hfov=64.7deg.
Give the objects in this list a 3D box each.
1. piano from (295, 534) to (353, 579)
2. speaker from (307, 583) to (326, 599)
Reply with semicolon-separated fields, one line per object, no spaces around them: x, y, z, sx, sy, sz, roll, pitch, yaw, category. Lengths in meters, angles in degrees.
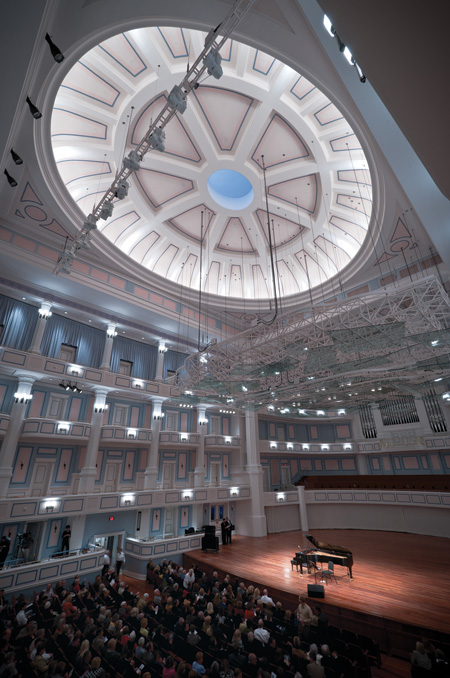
3.354;7.466;12.246;1.884;1.102;1.007;-13;-27;30;piano
2.464;7.095;9.844;0.608;0.356;0.273;-2;-32;12;speaker
